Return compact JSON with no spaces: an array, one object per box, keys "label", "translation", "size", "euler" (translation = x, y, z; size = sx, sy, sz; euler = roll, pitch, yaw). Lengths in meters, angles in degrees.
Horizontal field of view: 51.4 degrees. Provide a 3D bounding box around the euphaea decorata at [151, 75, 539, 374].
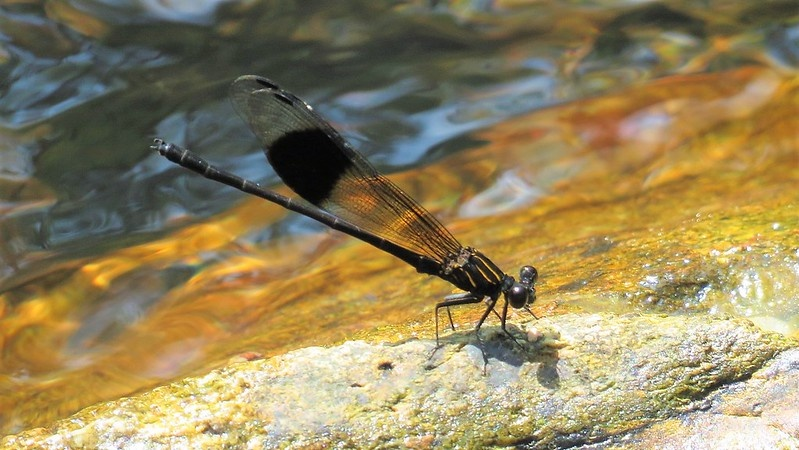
[{"label":"euphaea decorata","translation":[-0.490,-0.065,8.832],"size":[1.455,4.914,1.686],"euler":[95,-164,-75]}]
